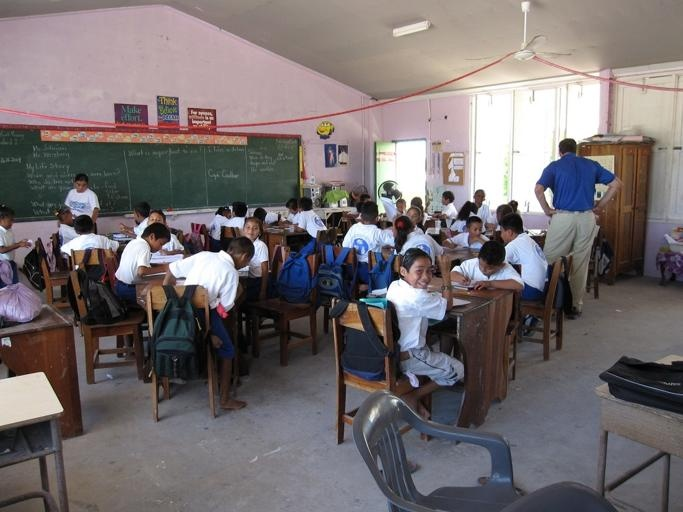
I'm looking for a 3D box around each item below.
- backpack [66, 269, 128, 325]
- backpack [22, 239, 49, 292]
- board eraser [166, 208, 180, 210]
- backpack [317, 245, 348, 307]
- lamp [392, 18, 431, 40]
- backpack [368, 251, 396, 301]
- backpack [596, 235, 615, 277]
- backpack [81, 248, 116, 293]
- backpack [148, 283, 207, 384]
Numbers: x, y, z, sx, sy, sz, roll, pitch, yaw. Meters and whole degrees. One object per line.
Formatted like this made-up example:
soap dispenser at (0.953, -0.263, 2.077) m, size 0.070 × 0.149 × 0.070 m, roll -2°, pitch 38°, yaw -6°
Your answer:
backpack at (-1.894, 0.333, 3.951) m, size 0.420 × 0.401 × 0.324 m, roll 4°, pitch 1°, yaw 3°
backpack at (-3.495, 0.071, 5.709) m, size 0.231 × 0.583 × 0.309 m, roll 6°, pitch 39°, yaw -19°
board eraser at (-2.637, -0.707, 7.793) m, size 0.041 × 0.048 × 0.171 m, roll 3°, pitch 5°, yaw 36°
backpack at (-0.083, 0.173, 4.639) m, size 0.284 × 0.479 × 0.267 m, roll 7°, pitch 18°, yaw 28°
lamp at (0.919, -3.022, 6.794) m, size 0.356 × 0.120 × 0.741 m, roll -8°, pitch 12°, yaw -35°
backpack at (0.365, 0.176, 4.572) m, size 0.240 × 0.410 × 0.230 m, roll 0°, pitch 9°, yaw 13°
backpack at (3.360, -0.030, 6.494) m, size 0.210 × 0.550 × 0.105 m, roll 4°, pitch 37°, yaw 42°
backpack at (-2.034, 0.128, 4.168) m, size 0.201 × 0.292 × 0.283 m, roll 4°, pitch 35°, yaw -10°
backpack at (-1.107, 0.498, 3.390) m, size 0.367 × 0.570 × 0.349 m, roll -4°, pitch 18°, yaw -33°
